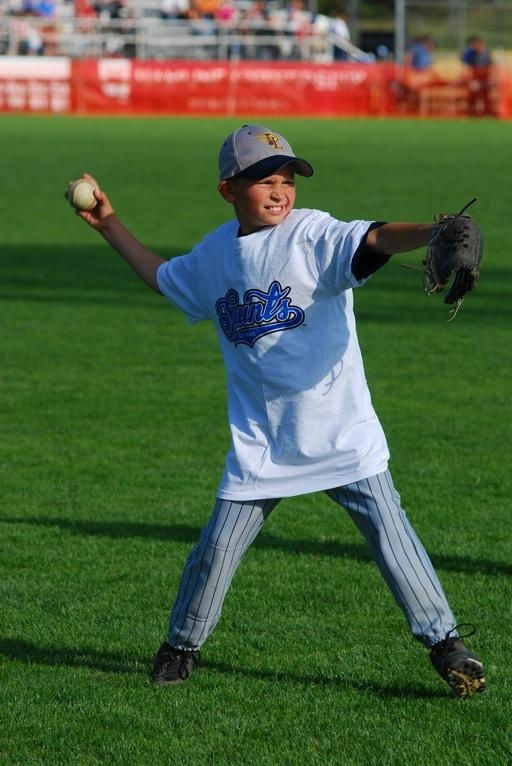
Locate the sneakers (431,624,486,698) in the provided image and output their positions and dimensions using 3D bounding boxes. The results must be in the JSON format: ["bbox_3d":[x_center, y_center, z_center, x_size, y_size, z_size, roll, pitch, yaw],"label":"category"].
[{"bbox_3d":[0.493,0.682,2.448,0.108,0.084,0.246,28,-14,16],"label":"sneakers"}]

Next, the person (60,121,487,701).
[{"bbox_3d":[0.134,0.075,2.506,0.893,1.405,0.543,2,14,12],"label":"person"}]

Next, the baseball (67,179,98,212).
[{"bbox_3d":[-0.496,-0.538,2.903,0.091,0.079,0.086,0,1,-8],"label":"baseball"}]

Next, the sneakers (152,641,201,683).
[{"bbox_3d":[-0.213,0.730,2.605,0.081,0.053,0.124,4,41,4],"label":"sneakers"}]

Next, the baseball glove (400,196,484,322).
[{"bbox_3d":[0.415,-0.263,2.206,0.190,0.274,0.123,4,6,26],"label":"baseball glove"}]

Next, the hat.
[{"bbox_3d":[0.001,-0.553,2.519,0.222,0.120,0.148,-2,11,43],"label":"hat"}]
